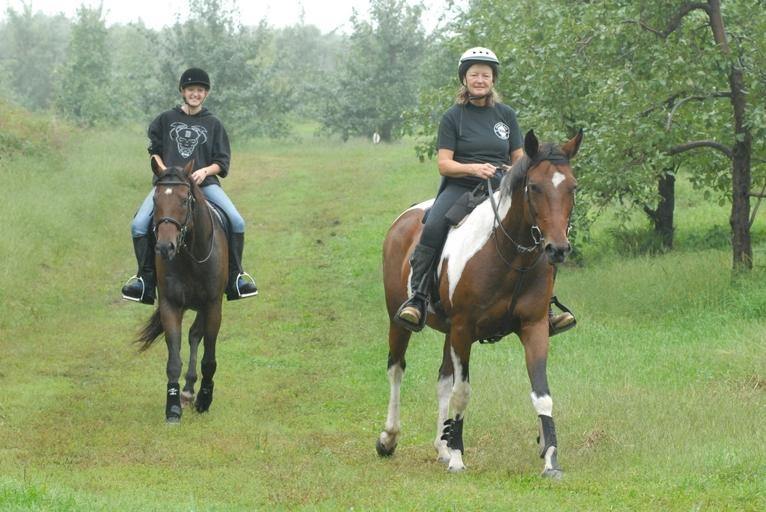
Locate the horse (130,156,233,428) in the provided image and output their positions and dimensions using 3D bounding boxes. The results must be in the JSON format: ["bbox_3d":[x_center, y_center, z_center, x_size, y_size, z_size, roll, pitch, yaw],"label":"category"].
[{"bbox_3d":[-4.159,0.684,21.536,1.018,5.367,1.978,3,6,23],"label":"horse"}]

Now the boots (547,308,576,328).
[{"bbox_3d":[3.459,1.209,19.996,0.237,0.302,0.675,-1,7,-25],"label":"boots"}]
